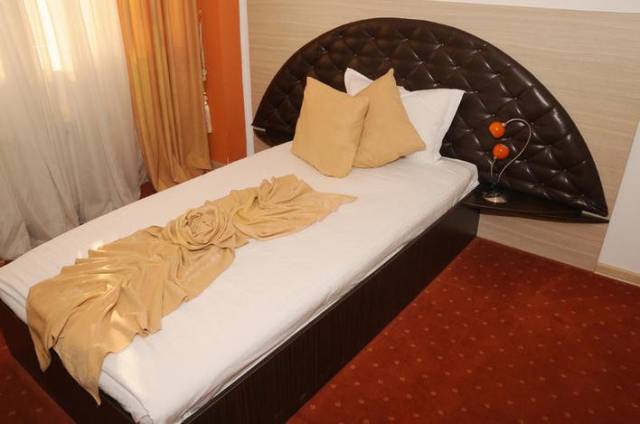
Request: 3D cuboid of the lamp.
[{"bbox_3d":[1.321,-0.376,3.079,0.267,0.628,0.231,9,20,20],"label":"lamp"}]
